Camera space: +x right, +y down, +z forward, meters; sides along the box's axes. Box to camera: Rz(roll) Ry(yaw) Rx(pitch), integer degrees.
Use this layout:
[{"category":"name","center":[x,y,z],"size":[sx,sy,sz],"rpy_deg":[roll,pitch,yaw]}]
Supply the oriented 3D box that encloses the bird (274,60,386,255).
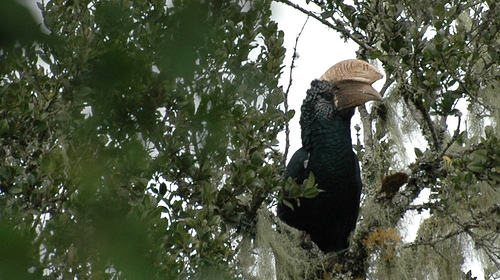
[{"category":"bird","center":[0.730,0.153,6.021],"size":[0.777,1.469,1.252],"rpy_deg":[4,-33,-10]}]
